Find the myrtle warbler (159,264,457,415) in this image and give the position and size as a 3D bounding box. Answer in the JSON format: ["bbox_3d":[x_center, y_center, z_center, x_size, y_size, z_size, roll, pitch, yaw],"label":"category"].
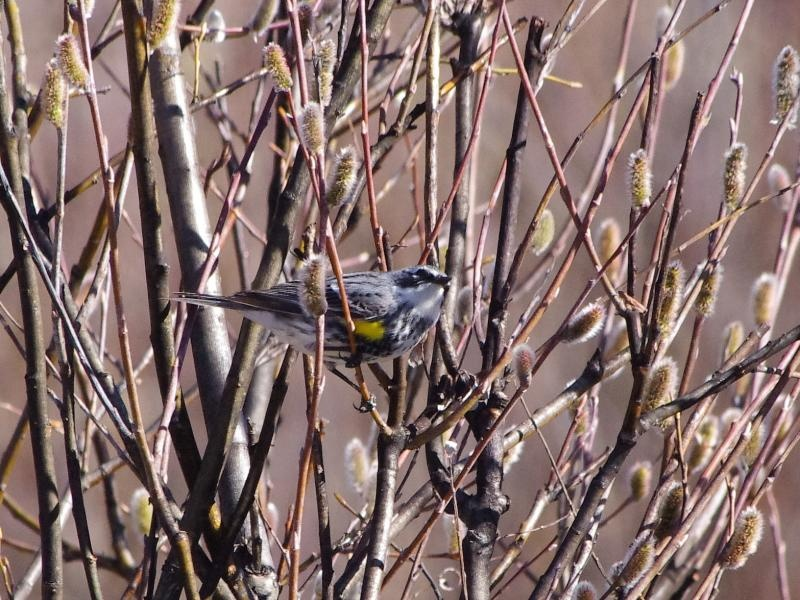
[{"bbox_3d":[-0.421,0.003,5.964,1.219,0.460,0.703,9,-69,3],"label":"myrtle warbler"}]
